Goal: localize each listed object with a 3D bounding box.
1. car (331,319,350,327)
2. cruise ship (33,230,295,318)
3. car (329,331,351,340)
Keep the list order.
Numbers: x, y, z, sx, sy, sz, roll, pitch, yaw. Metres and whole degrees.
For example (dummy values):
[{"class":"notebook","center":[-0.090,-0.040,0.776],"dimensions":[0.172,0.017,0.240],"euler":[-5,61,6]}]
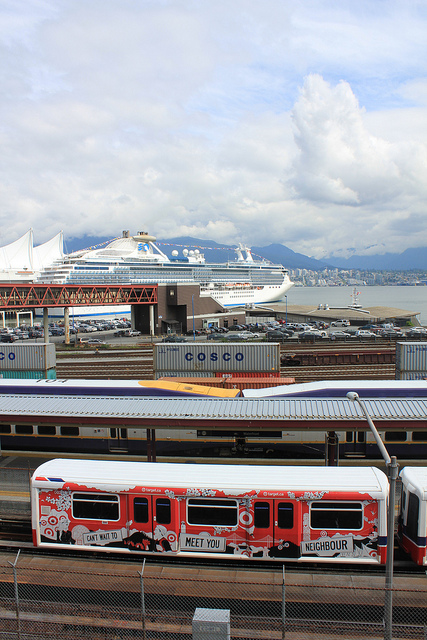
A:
[{"class":"car","center":[15.492,0.462,89.151],"dimensions":[2.120,0.898,1.090],"euler":[6,8,16]},{"class":"cruise ship","center":[-5.741,-8.695,129.271],"dimensions":[53.176,12.918,9.653],"euler":[-2,6,-37]},{"class":"car","center":[11.621,1.457,66.731],"dimensions":[1.822,0.709,0.896],"euler":[-6,11,0]}]
